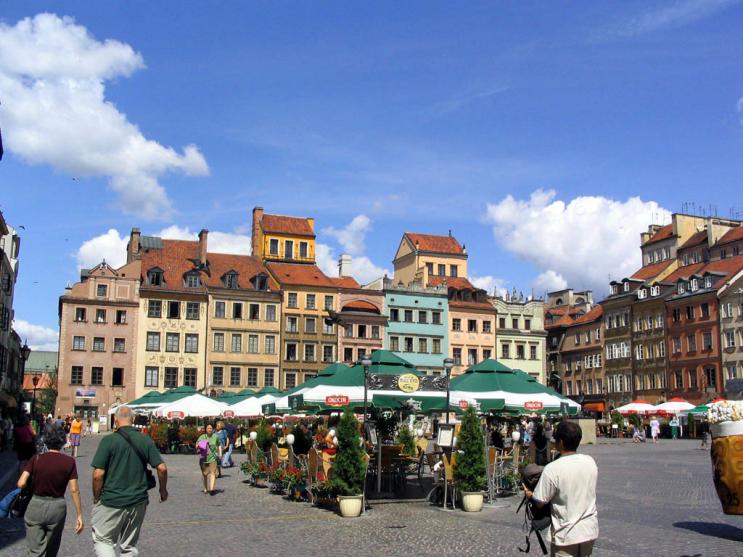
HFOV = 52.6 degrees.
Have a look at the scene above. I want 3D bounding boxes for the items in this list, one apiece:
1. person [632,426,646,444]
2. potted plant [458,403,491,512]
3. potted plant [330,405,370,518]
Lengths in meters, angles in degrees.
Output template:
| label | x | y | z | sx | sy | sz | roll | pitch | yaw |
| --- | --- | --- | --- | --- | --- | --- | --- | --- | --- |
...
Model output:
| label | x | y | z | sx | sy | sz | roll | pitch | yaw |
| --- | --- | --- | --- | --- | --- | --- | --- | --- | --- |
| person | 18.435 | 10.861 | 51.643 | 0.979 | 0.501 | 1.358 | 1 | 27 | 18 |
| potted plant | 2.219 | 4.165 | 16.796 | 0.680 | 2.034 | 0.412 | -1 | -14 | 6 |
| potted plant | -0.472 | 4.080 | 16.408 | 0.713 | 2.186 | 0.811 | 1 | -14 | -4 |
